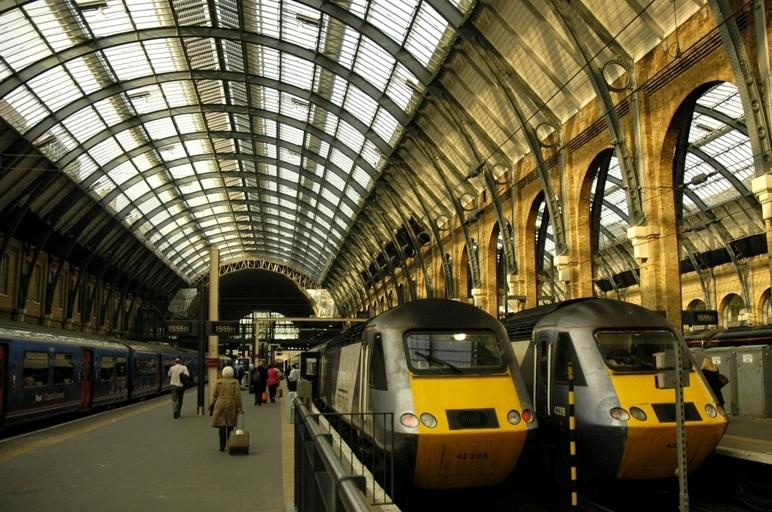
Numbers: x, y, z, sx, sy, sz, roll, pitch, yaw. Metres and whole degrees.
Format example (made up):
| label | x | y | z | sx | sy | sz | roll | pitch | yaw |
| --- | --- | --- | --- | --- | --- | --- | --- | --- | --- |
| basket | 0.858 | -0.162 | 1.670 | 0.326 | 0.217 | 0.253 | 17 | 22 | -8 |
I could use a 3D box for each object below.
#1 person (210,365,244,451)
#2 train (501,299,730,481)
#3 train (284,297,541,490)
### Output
| label | x | y | z | sx | sy | sz | roll | pitch | yaw |
| --- | --- | --- | --- | --- | --- | --- | --- | --- | --- |
| person | -4.208 | 4.015 | 14.927 | 0.734 | 2.250 | 1.194 | 0 | -6 | -18 |
| train | 5.046 | 3.691 | 17.794 | 3.450 | 4.155 | 12.471 | -1 | -8 | -9 |
| train | 0.580 | 3.084 | 13.706 | 3.264 | 4.020 | 5.063 | 0 | -7 | -25 |
